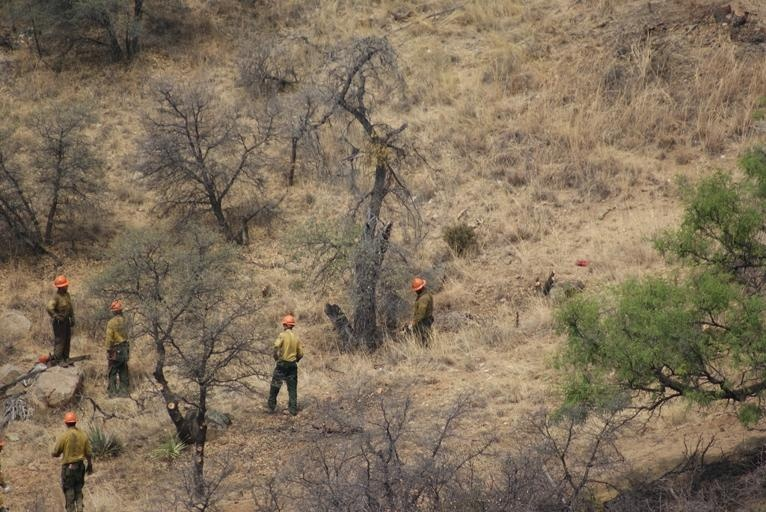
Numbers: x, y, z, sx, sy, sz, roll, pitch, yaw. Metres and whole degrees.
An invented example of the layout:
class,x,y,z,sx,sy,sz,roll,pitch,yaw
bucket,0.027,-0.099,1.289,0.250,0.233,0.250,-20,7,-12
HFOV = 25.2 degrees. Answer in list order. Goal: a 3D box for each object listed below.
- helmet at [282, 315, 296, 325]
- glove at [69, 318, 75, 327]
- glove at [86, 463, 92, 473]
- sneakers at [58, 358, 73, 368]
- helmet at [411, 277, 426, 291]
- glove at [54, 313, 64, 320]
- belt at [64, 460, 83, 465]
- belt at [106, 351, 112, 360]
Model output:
class,x,y,z,sx,sy,sz,roll,pitch,yaw
helmet,-3.075,2.242,56.457,0.408,0.420,0.346,16,19,40
glove,-10.471,2.278,58.039,0.153,0.261,0.230,-3,0,-10
glove,-9.210,6.799,54.066,0.100,0.253,0.434,10,-45,-7
sneakers,-10.636,3.659,57.873,0.257,0.183,0.396,-11,8,-43
helmet,1.206,1.074,58.113,0.391,0.435,0.194,-20,-61,36
glove,-10.824,2.080,57.560,0.313,0.171,0.111,3,-25,-30
belt,-9.635,6.515,53.827,0.492,0.104,0.076,-4,-22,-18
belt,-9.119,3.377,57.469,0.235,0.409,0.098,-1,-4,-31
